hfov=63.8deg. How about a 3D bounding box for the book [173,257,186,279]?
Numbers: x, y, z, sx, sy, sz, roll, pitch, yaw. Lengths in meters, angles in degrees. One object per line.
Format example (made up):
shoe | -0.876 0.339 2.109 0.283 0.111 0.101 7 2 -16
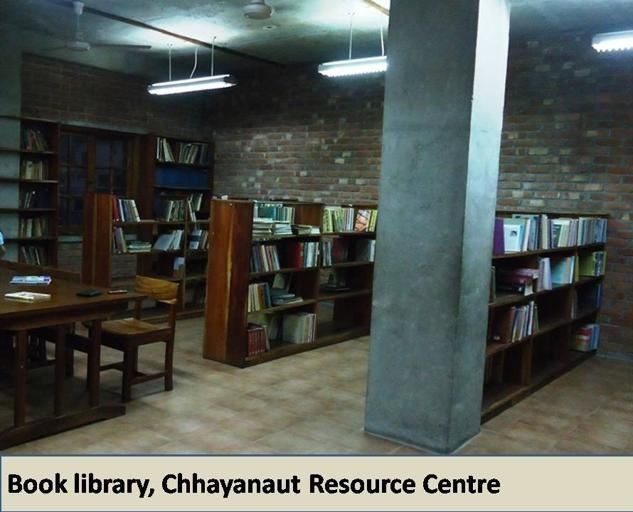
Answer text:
book | -1.864 0.158 6.946 0.106 0.296 0.194 2 9 -27

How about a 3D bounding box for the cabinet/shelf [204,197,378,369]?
cabinet/shelf | -0.276 0.323 5.636 0.649 1.366 2.328 6 7 39

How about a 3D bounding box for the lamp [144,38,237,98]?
lamp | -1.730 -2.590 7.023 1.248 0.500 0.360 3 12 22
